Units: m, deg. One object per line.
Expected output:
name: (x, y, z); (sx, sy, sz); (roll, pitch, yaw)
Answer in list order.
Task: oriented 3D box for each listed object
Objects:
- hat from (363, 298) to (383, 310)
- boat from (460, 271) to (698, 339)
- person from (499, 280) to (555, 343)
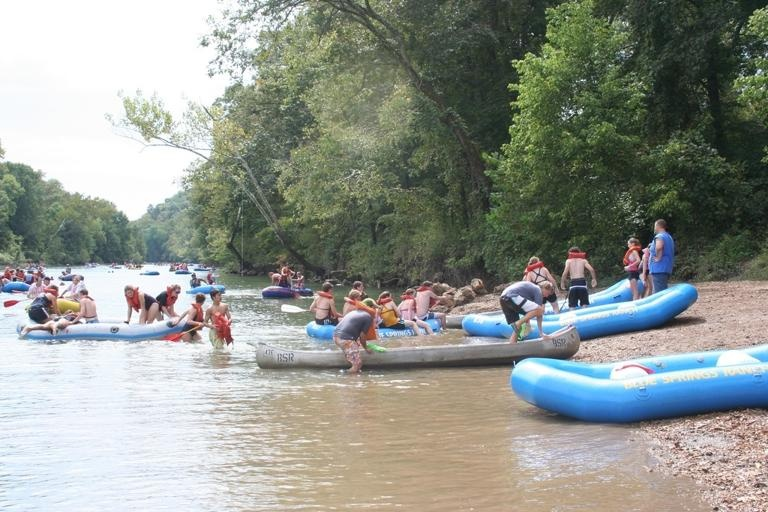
hat: (-0.330, 1.405, 26.906); (0.467, 0.219, 0.290); (-2, 11, -34)
boat: (6.234, 1.859, 27.760); (5.364, 1.040, 2.591); (-9, -3, 16)
person: (3.849, 1.537, 25.494); (1.120, 1.618, 0.686); (-5, -2, 6)
